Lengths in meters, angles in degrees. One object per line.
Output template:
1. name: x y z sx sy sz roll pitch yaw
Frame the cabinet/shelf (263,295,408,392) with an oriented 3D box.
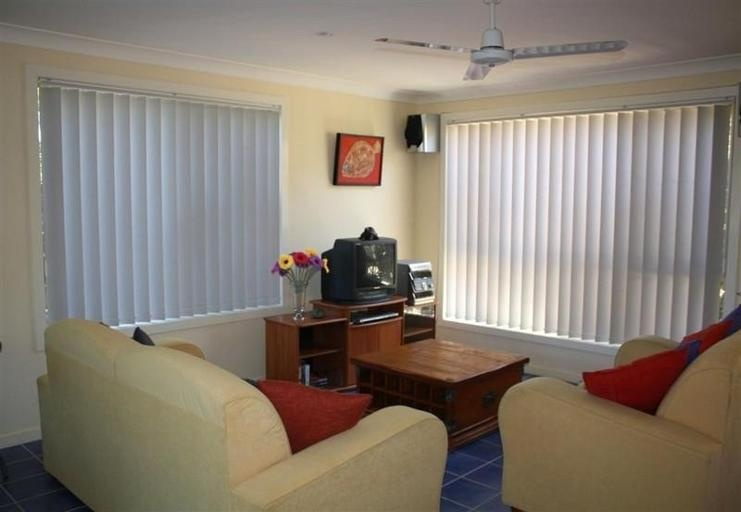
1. cabinet/shelf: -0.354 0.928 5.753 1.521 0.956 0.533 -6 11 -44

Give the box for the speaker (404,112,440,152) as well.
1. speaker: 0.619 -1.505 6.784 0.428 0.450 0.373 -5 11 -28

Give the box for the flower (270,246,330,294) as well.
1. flower: -0.715 0.129 5.631 0.478 0.336 0.474 -3 2 2

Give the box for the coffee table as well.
1. coffee table: 0.690 1.061 4.724 0.939 0.433 0.946 4 7 45

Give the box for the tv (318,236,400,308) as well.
1. tv: -0.124 0.147 5.989 0.712 0.676 0.725 1 3 42

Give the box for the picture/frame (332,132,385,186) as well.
1. picture/frame: -0.136 -1.098 6.339 0.078 0.582 0.799 13 12 37

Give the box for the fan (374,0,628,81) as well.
1. fan: 0.932 -1.485 3.667 1.203 0.460 0.633 2 8 19

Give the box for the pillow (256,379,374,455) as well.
1. pillow: -0.297 0.860 2.893 0.633 0.585 0.233 6 25 -15

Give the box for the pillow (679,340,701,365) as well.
1. pillow: 1.877 0.565 3.281 0.135 0.126 0.039 9 5 -41

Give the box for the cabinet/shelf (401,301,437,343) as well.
1. cabinet/shelf: 0.487 0.794 6.243 0.541 0.489 0.222 0 0 -39
